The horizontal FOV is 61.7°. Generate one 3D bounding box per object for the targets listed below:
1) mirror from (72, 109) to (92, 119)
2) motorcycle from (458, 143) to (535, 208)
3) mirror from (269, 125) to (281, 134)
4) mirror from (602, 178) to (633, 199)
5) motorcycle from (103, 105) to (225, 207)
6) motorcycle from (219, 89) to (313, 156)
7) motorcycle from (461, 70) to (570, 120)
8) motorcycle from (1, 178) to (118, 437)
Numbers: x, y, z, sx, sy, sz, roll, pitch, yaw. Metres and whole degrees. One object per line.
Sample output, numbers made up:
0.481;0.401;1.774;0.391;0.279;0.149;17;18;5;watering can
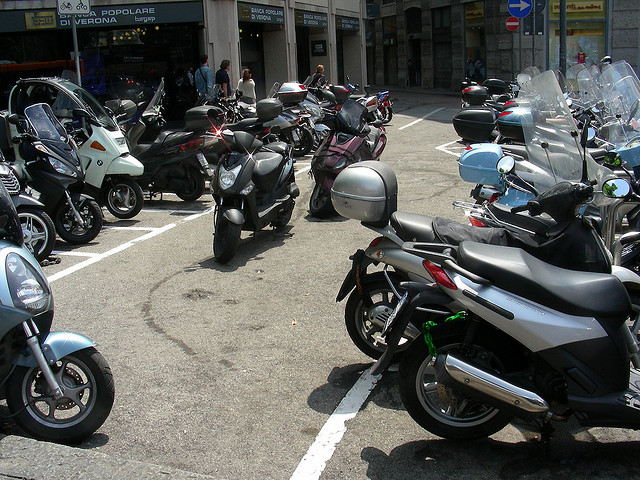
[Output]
-3.836;-2.053;8.636;0.190;0.073;0.138;0;1;-21;mirror
1.766;-0.632;5.474;0.891;0.632;0.530;7;35;4;motorcycle
-0.676;-1.690;8.118;0.128;0.122;0.320;0;15;-3;mirror
1.957;-0.346;3.538;0.166;0.124;0.023;1;3;9;mirror
-3.121;-1.692;10.454;2.682;2.036;1.312;-1;-1;24;motorcycle
-1.631;-3.108;14.174;3.003;1.929;1.730;-3;26;0;motorcycle
4.829;-3.661;14.294;2.033;1.325;1.167;8;10;11;motorcycle
-1.760;0.481;3.415;0.829;1.519;0.405;6;15;19;motorcycle
